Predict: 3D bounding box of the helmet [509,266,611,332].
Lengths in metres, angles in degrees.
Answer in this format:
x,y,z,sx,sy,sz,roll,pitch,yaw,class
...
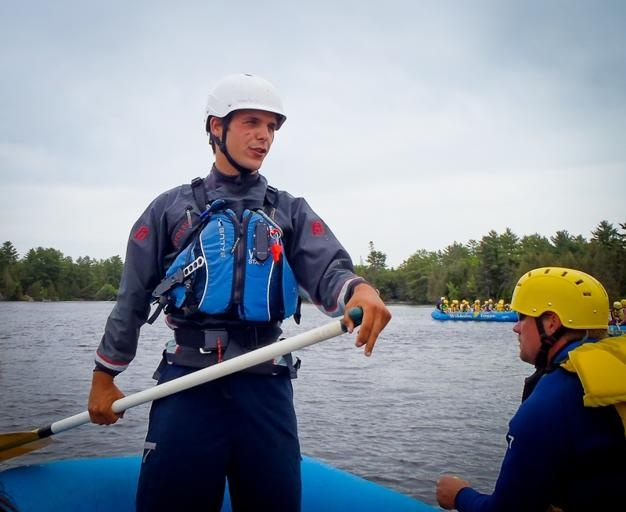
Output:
x,y,z,sx,sy,sz,roll,pitch,yaw,class
1.348,0.250,3.034,0.427,0.285,0.342,-8,-12,37,helmet
